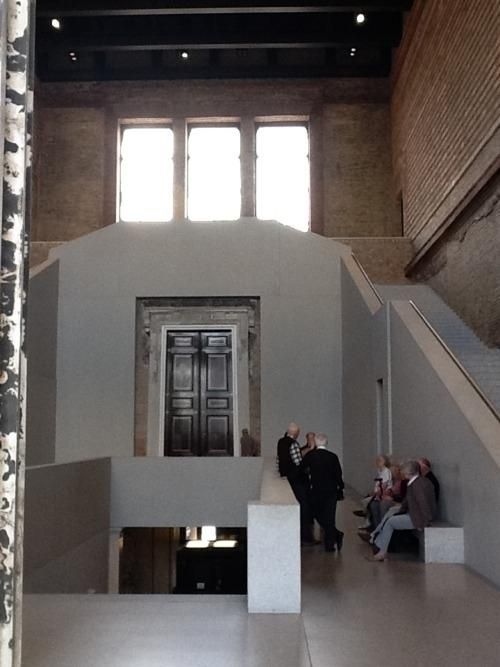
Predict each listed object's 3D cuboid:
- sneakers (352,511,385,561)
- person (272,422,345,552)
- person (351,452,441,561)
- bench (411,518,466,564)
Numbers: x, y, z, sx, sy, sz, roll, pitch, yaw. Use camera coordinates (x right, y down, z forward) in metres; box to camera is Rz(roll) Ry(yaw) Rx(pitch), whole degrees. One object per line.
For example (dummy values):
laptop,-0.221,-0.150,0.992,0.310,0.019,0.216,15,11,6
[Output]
sneakers,0.999,1.657,5.754,0.193,0.531,0.143,-23,-14,18
person,0.563,1.366,6.148,0.415,0.980,1.027,3,-4,-18
person,1.276,1.436,5.599,0.523,0.813,0.763,1,-4,17
bench,1.512,1.637,5.220,0.315,0.280,0.059,2,-3,1
